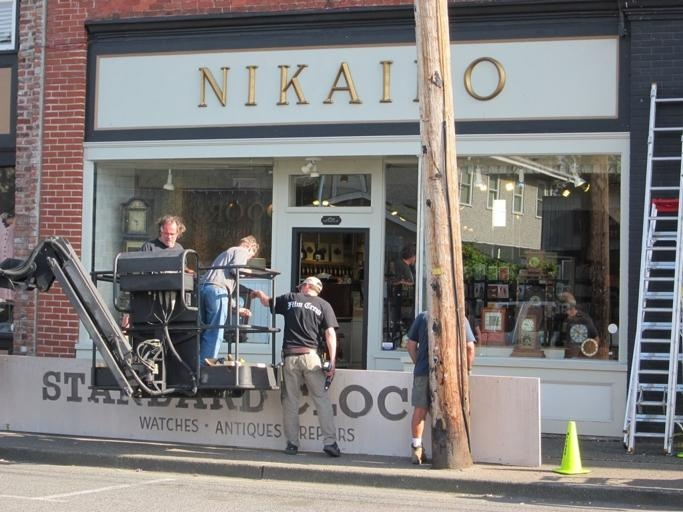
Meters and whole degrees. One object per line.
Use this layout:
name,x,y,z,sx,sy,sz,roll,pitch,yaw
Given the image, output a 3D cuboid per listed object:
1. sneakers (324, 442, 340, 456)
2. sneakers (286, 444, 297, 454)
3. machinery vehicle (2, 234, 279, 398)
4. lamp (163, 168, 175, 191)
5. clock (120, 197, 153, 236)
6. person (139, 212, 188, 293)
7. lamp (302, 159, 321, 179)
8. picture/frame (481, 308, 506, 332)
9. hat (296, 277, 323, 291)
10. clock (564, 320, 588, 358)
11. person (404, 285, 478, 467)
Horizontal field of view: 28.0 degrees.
sneakers,-0.111,2.609,18.604,0.236,0.204,0.212,0,-3,0
sneakers,-0.665,2.609,18.702,0.166,0.153,0.115,0,-4,-12
machinery vehicle,-3.366,0.915,19.130,4.997,2.745,1.571,-1,-4,4
lamp,-2.754,-1.223,21.845,0.182,0.331,0.116,-1,-4,7
clock,-3.309,-0.666,22.032,0.621,0.811,0.167,0,-3,-10
person,-2.415,-0.236,18.940,0.711,0.683,0.390,7,8,-20
lamp,-0.465,-1.386,21.297,0.280,0.268,0.426,0,-3,-1
picture/frame,2.330,0.961,20.612,0.341,0.332,0.134,0,-8,20
hat,-0.425,0.343,18.998,0.300,0.157,0.225,18,5,32
clock,3.480,1.204,20.266,0.450,0.473,0.120,3,-4,22
person,1.270,1.748,18.412,0.909,2.023,0.768,-1,-4,15
